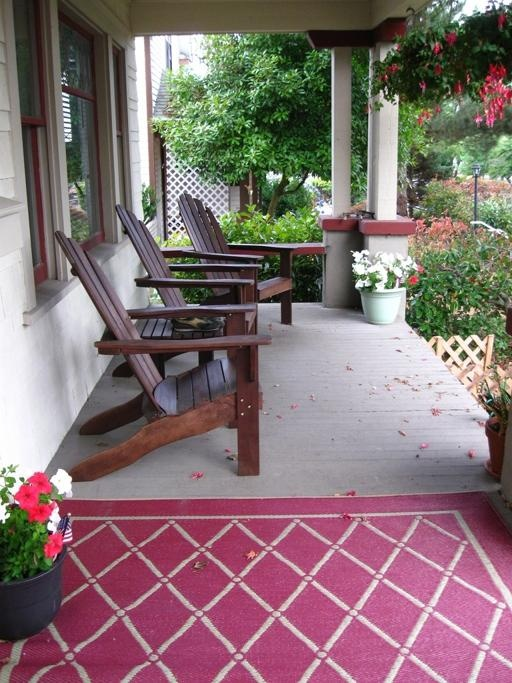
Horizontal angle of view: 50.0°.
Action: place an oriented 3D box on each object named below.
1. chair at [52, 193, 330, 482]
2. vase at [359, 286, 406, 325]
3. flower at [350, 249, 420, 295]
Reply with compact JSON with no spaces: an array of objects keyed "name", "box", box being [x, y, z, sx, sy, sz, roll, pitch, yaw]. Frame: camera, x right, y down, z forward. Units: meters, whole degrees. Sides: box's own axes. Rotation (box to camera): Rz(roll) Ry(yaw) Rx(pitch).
[{"name":"chair","box":[-0.390,-0.067,3.367,0.967,0.978,2.086,-1,17,-5]},{"name":"vase","box":[1.151,-0.340,5.119,0.376,0.257,0.363,-2,12,-2]},{"name":"flower","box":[1.195,-0.661,5.066,0.538,0.375,0.555,2,10,16]}]
